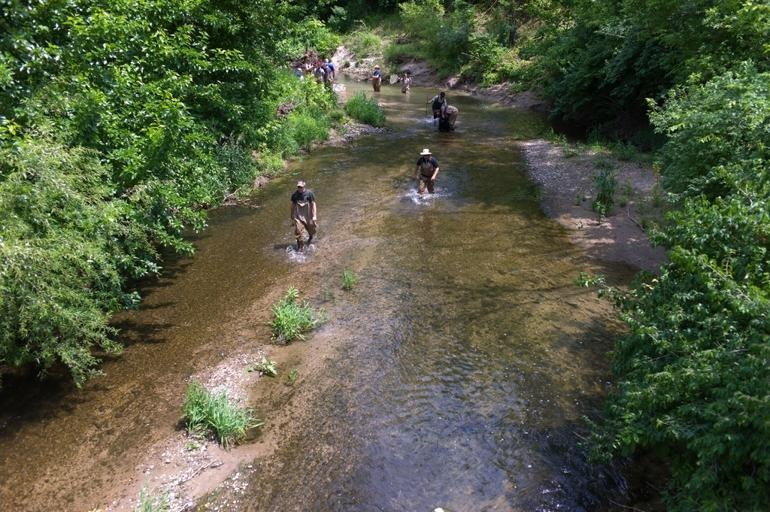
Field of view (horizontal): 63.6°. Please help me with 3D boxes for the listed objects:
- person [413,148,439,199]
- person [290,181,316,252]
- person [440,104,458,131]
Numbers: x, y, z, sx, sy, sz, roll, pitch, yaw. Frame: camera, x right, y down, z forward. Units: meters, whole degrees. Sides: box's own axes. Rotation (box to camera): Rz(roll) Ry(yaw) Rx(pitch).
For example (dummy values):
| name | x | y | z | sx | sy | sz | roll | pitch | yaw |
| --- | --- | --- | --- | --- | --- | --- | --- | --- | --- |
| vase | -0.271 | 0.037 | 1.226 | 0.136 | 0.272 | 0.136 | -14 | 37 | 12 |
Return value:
| name | x | y | z | sx | sy | sz | roll | pitch | yaw |
| --- | --- | --- | --- | --- | --- | --- | --- | --- | --- |
| person | 1.456 | -2.945 | 21.534 | 0.689 | 1.702 | 0.650 | -2 | 27 | 3 |
| person | -2.354 | -1.227 | 18.018 | 0.808 | 1.985 | 0.650 | -18 | 31 | -27 |
| person | 3.133 | -6.834 | 30.365 | 1.009 | 1.223 | 0.565 | 13 | 45 | 5 |
